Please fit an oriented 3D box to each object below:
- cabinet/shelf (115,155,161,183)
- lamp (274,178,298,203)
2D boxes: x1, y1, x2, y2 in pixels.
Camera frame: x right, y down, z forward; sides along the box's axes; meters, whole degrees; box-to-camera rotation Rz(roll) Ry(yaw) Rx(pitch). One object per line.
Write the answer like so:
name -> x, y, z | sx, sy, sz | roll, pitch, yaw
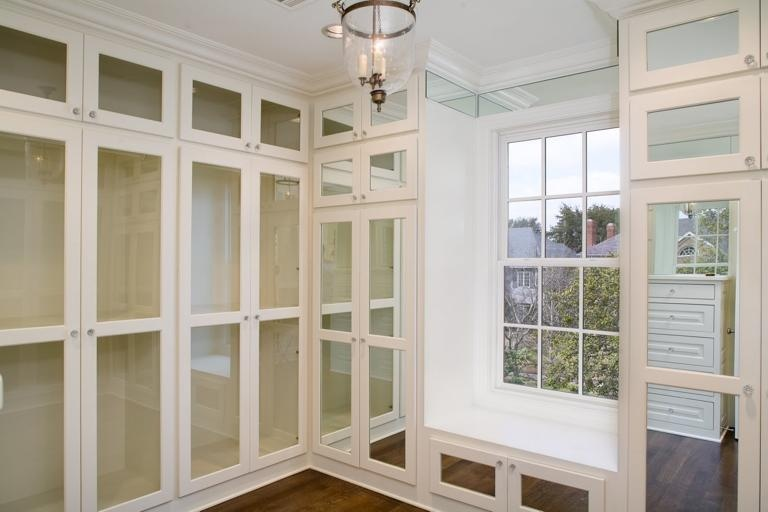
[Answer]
cabinet/shelf -> -1.687, -0.544, 3.953 | 0.154, 0.192, 0.304 | -2, -3, 41
lamp -> -0.800, -0.533, 4.628 | 0.171, 0.188, 0.169 | -1, 1, -19
